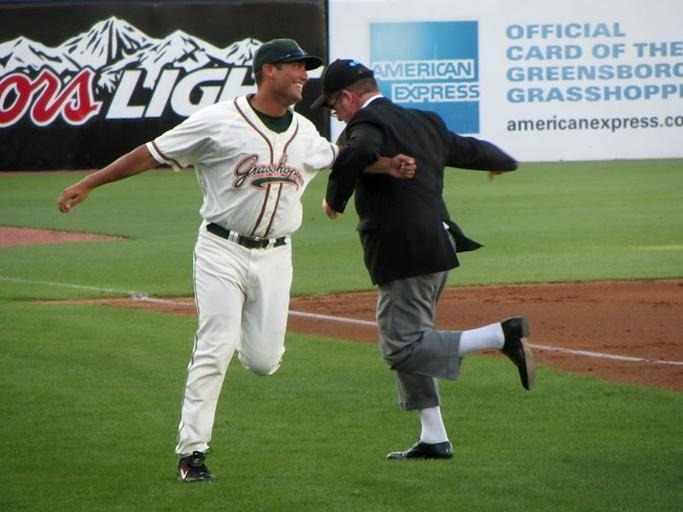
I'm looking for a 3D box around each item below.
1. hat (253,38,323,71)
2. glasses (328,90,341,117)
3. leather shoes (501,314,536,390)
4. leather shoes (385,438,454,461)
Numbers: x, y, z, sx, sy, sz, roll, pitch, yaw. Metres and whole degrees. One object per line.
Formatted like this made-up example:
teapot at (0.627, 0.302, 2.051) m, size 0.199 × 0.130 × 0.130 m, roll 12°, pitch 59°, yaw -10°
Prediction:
hat at (-0.439, -1.600, 9.500) m, size 0.445 × 0.200 × 0.286 m, roll -13°, pitch 10°, yaw 3°
glasses at (-0.064, -1.259, 9.813) m, size 0.049 × 0.150 × 0.151 m, roll -4°, pitch -2°, yaw 11°
leather shoes at (1.461, 0.750, 9.648) m, size 0.205 × 0.620 × 0.269 m, roll -13°, pitch 5°, yaw 19°
leather shoes at (0.644, 1.592, 9.707) m, size 0.564 × 0.151 × 0.194 m, roll 1°, pitch -3°, yaw 6°
